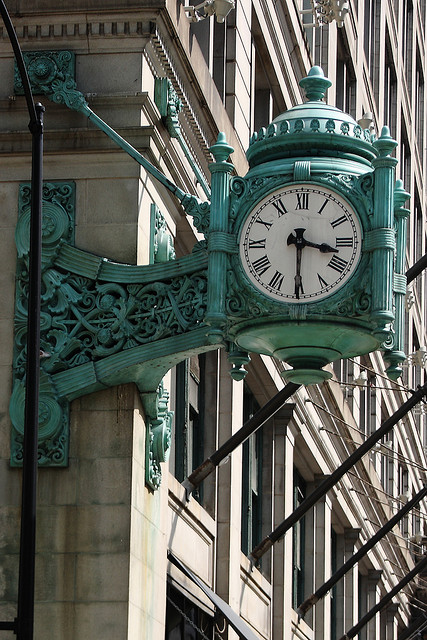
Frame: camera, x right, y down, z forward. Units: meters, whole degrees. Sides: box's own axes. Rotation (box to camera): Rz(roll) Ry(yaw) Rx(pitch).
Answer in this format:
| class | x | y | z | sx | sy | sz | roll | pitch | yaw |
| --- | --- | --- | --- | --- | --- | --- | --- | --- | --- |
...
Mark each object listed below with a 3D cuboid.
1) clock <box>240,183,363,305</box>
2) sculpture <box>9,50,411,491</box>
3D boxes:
| class | x | y | z | sx | sy | sz | roll | pitch | yaw |
| --- | --- | --- | --- | --- | --- | --- | --- | --- | --- |
| clock | 0.916 | -0.817 | 24.396 | 1.296 | 1.541 | 0.129 | -1 | -31 | 7 |
| sculpture | -0.030 | -1.164 | 25.388 | 4.500 | 4.526 | 1.939 | -16 | -31 | 21 |
